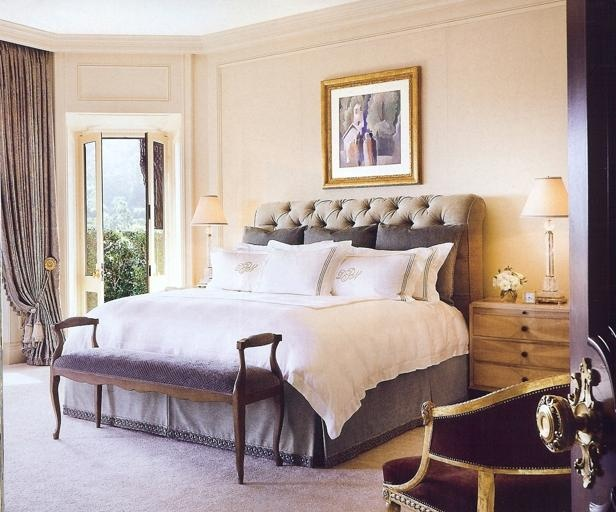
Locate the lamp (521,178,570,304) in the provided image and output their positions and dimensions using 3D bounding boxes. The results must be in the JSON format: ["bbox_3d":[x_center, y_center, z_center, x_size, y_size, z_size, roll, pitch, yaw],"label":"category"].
[{"bbox_3d":[1.857,-0.143,4.239,0.317,1.013,0.497,0,2,26],"label":"lamp"}]

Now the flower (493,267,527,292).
[{"bbox_3d":[1.623,0.194,4.364,0.240,0.168,0.235,-5,29,2],"label":"flower"}]

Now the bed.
[{"bbox_3d":[0.181,0.609,4.087,2.202,1.419,2.236,-1,-1,38],"label":"bed"}]

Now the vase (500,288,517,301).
[{"bbox_3d":[1.632,0.316,4.390,0.096,0.055,0.138,0,-8,15],"label":"vase"}]

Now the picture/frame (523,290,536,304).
[{"bbox_3d":[1.723,0.318,4.149,0.084,0.080,0.020,-3,-15,45],"label":"picture/frame"}]

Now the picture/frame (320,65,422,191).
[{"bbox_3d":[0.652,-1.241,5.213,1.253,1.245,0.097,-1,-2,34],"label":"picture/frame"}]

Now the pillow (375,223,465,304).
[{"bbox_3d":[0.979,0.086,4.554,0.654,0.651,0.196,0,-19,46],"label":"pillow"}]
